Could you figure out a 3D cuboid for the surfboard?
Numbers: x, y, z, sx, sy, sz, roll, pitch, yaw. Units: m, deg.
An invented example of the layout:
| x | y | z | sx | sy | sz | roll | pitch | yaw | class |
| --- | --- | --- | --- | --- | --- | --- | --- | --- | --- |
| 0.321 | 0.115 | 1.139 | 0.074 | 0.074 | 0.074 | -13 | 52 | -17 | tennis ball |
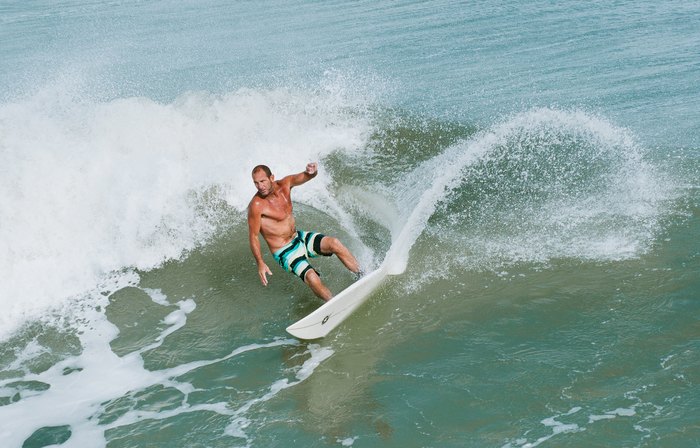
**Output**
| x | y | z | sx | sy | sz | roll | pitch | yaw | class |
| --- | --- | --- | --- | --- | --- | --- | --- | --- | --- |
| -0.291 | 1.781 | 15.358 | 3.044 | 0.375 | 0.790 | -35 | 96 | -37 | surfboard |
